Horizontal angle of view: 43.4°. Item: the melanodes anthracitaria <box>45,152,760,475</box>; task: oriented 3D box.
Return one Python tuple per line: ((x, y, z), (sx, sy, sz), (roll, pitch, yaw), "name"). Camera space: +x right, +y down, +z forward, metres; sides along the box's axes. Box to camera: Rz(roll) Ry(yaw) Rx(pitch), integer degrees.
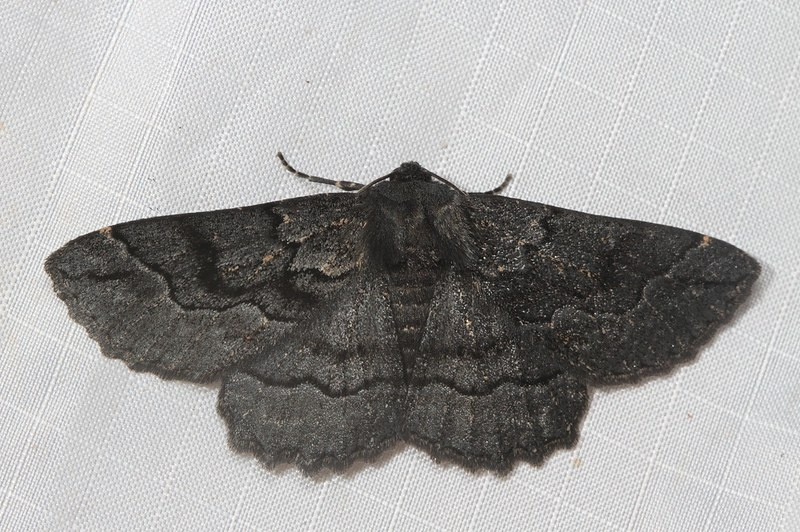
((0.048, 0.202, 7.432), (4.900, 2.438, 0.546), (2, 26, -3), "melanodes anthracitaria")
